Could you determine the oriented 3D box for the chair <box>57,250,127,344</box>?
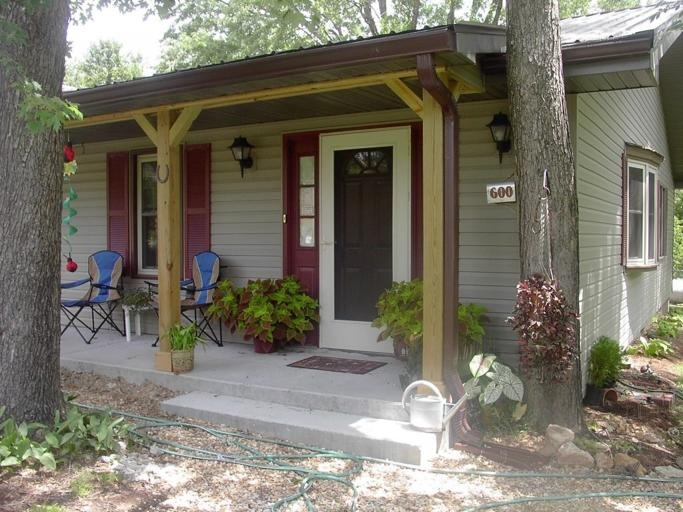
[{"bbox_3d":[-3.349,0.514,7.712,0.734,1.124,0.711,6,5,35],"label":"chair"}]

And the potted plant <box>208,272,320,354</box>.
[{"bbox_3d":[-0.879,0.679,6.785,1.233,0.876,0.610,2,-1,-6],"label":"potted plant"}]

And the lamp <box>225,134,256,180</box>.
[{"bbox_3d":[-1.270,-1.230,7.155,0.327,0.487,0.223,1,-1,29],"label":"lamp"}]

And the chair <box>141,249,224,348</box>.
[{"bbox_3d":[-1.928,0.561,7.133,0.808,1.171,0.832,2,5,25],"label":"chair"}]

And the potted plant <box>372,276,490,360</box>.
[{"bbox_3d":[0.855,0.582,5.656,1.123,0.690,0.733,1,-1,15],"label":"potted plant"}]

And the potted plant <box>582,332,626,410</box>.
[{"bbox_3d":[2.769,1.204,6.078,0.319,0.675,0.554,0,-1,37],"label":"potted plant"}]

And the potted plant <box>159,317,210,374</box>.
[{"bbox_3d":[-1.625,0.946,6.152,0.460,0.550,0.508,0,-1,1],"label":"potted plant"}]

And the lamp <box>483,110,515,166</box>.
[{"bbox_3d":[1.569,-1.178,5.729,0.236,0.498,0.205,1,-1,15],"label":"lamp"}]

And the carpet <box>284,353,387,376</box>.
[{"bbox_3d":[-0.048,1.146,6.105,0.987,0.064,0.559,1,-1,17],"label":"carpet"}]
